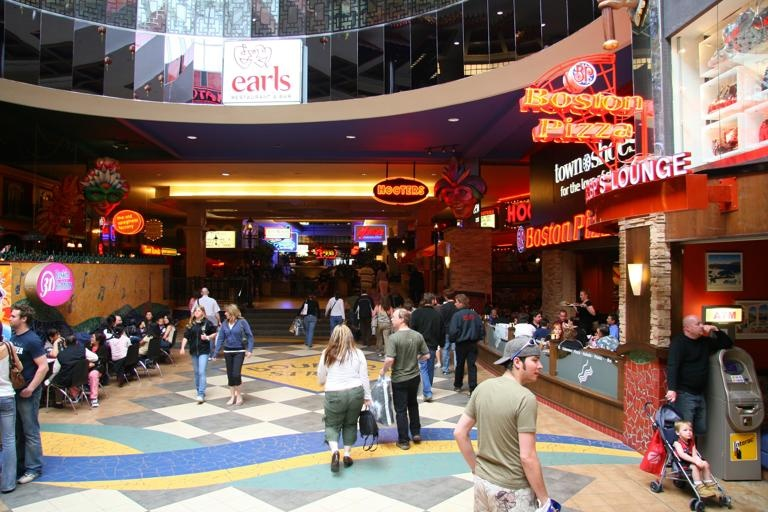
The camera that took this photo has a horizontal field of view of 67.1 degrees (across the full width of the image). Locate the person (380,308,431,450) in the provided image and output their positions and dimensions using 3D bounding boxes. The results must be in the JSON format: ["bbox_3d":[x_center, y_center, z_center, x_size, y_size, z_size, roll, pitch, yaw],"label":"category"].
[{"bbox_3d":[0.350,2.179,10.377,0.642,2.386,1.051,2,7,15],"label":"person"}]

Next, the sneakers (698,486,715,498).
[{"bbox_3d":[4.771,3.465,8.544,0.270,0.149,0.066,0,7,3],"label":"sneakers"}]

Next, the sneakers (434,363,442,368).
[{"bbox_3d":[1.456,2.975,15.746,0.155,0.097,0.092,2,-1,41],"label":"sneakers"}]

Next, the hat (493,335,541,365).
[{"bbox_3d":[1.594,1.113,6.945,0.496,0.255,0.349,-5,-5,9],"label":"hat"}]

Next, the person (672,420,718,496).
[{"bbox_3d":[4.718,3.078,8.766,0.407,1.047,0.625,-3,7,-26],"label":"person"}]

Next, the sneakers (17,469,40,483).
[{"bbox_3d":[-5.644,3.511,9.186,0.295,0.112,0.105,0,-1,-13],"label":"sneakers"}]

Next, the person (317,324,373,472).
[{"bbox_3d":[-0.650,2.312,9.560,0.755,2.333,0.588,-4,8,-29],"label":"person"}]

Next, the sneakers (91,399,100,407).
[{"bbox_3d":[-6.240,3.159,12.452,0.150,0.112,0.284,2,-7,-29],"label":"sneakers"}]

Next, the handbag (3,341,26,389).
[{"bbox_3d":[-5.784,1.728,9.065,0.216,0.798,0.216,-4,8,-32],"label":"handbag"}]

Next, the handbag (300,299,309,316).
[{"bbox_3d":[-2.851,1.840,20.556,0.192,0.538,0.567,13,-25,-10],"label":"handbag"}]

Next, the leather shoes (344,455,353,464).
[{"bbox_3d":[-0.608,3.409,9.692,0.080,0.143,0.235,1,1,13],"label":"leather shoes"}]

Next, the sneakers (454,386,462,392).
[{"bbox_3d":[1.691,3.065,13.344,0.161,0.156,0.094,0,-4,11],"label":"sneakers"}]

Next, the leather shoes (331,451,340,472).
[{"bbox_3d":[-0.786,3.310,9.336,0.126,0.337,0.151,4,0,-18],"label":"leather shoes"}]

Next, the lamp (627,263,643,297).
[{"bbox_3d":[4.413,0.411,10.230,0.115,0.581,0.386,-2,7,-17],"label":"lamp"}]
